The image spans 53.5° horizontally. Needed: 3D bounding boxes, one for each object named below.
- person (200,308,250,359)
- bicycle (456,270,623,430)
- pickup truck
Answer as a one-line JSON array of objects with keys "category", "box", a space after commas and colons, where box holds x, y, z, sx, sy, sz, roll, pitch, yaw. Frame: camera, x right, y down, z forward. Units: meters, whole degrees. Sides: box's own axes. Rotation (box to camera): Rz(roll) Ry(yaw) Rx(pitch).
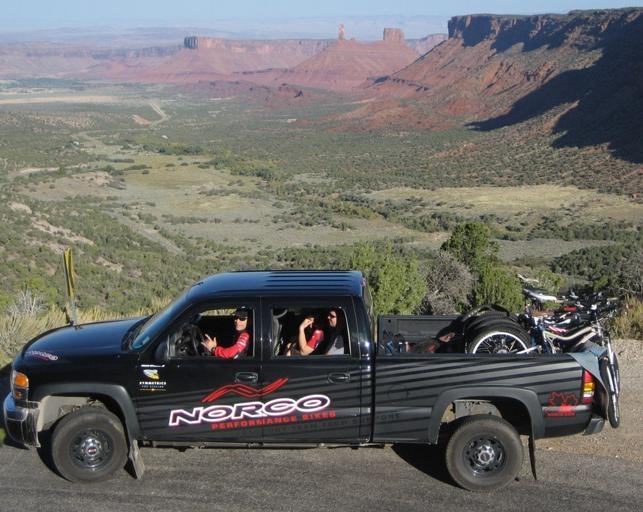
[{"category": "person", "box": [-0.942, 0.915, 6.901, 0.591, 0.705, 0.582, 4, -1, -6]}, {"category": "bicycle", "box": [2.545, 0.959, 7.257, 2.717, 1.338, 1.193, 0, 2, -8]}, {"category": "pickup truck", "box": [-0.213, 1.330, 7.531, 7.549, 1.961, 2.448, 1, 6, -1]}]
